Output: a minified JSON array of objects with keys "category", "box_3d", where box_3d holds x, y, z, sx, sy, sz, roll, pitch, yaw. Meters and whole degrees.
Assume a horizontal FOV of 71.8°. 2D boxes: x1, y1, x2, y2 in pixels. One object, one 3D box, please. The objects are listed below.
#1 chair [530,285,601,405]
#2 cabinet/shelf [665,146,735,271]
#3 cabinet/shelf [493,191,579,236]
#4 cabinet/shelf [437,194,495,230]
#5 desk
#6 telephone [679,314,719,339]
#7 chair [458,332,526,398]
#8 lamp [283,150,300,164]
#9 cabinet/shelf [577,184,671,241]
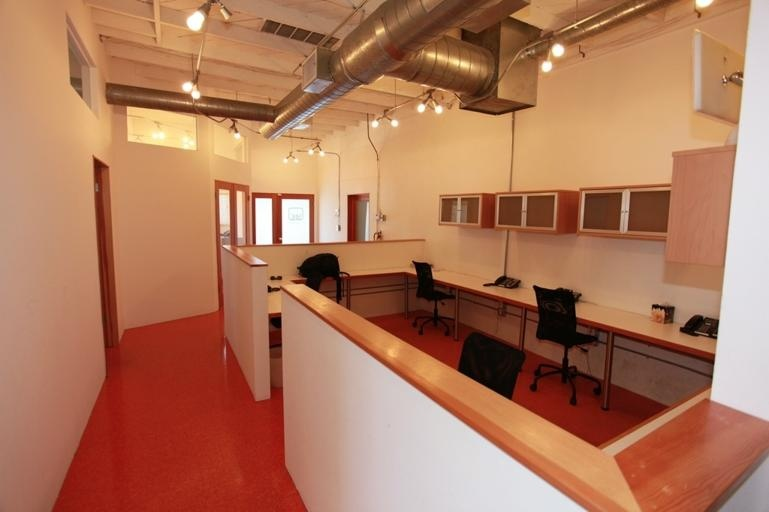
[{"category":"chair","box_3d":[2.091,0.934,6.169,0.753,1.299,0.825,-8,13,-16]},{"category":"cabinet/shelf","box_3d":[2.296,-0.374,3.869,0.380,0.851,0.160,5,8,28]},{"category":"cabinet/shelf","box_3d":[1.891,-0.557,6.763,0.371,0.529,1.046,-2,6,-34]},{"category":"cabinet/shelf","box_3d":[1.173,-0.659,7.713,0.267,0.463,0.900,-2,5,-35]},{"category":"desk","box_3d":[1.953,1.003,6.684,0.774,1.074,3.965,-5,9,-40]},{"category":"telephone","box_3d":[3.229,0.723,5.400,0.391,0.122,0.384,9,28,41]},{"category":"chair","box_3d":[0.924,0.933,4.627,0.214,0.459,0.572,-5,9,-39]},{"category":"lamp","box_3d":[-2.022,-2.121,11.404,0.388,0.353,0.154,1,-5,-10]},{"category":"cabinet/shelf","box_3d":[2.639,-0.486,5.844,0.930,0.564,0.305,3,8,22]}]
